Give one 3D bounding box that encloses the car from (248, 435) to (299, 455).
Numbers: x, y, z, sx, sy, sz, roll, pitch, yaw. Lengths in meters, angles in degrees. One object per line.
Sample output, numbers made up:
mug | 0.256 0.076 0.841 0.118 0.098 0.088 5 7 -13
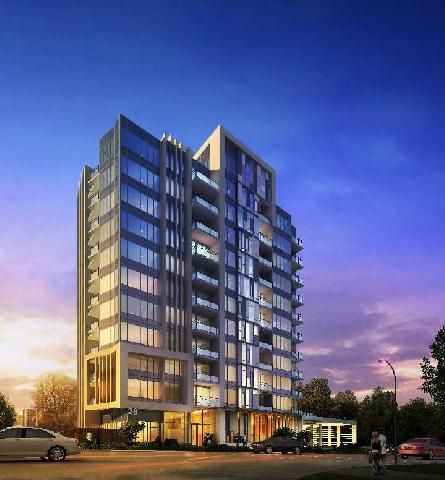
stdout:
car | 4.461 16.697 59.707 3.967 1.406 1.575 11 -13 -36
